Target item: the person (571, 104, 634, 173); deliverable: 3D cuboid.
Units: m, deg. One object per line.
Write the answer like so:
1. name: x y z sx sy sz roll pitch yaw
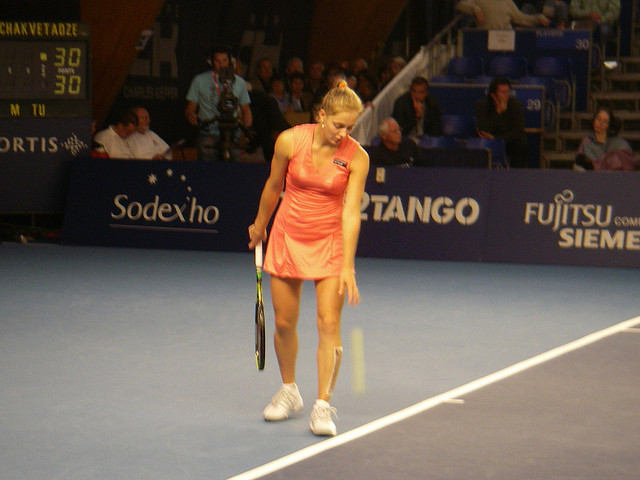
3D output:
1. person: 4.836 -1.712 11.608 0.903 1.058 0.461 4 8 22

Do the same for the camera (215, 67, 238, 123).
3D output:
1. camera: -1.471 -2.204 10.560 0.342 0.826 0.440 0 7 -7

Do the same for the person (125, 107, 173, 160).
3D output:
1. person: -3.071 -1.853 12.053 0.471 0.869 0.882 -15 21 15

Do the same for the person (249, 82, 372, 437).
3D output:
1. person: -0.067 0.098 4.160 0.683 2.037 0.583 1 7 3

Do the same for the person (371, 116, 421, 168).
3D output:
1. person: 1.191 -1.519 10.768 0.808 0.695 0.317 2 7 7

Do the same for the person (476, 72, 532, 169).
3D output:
1. person: 3.244 -2.051 12.135 0.912 1.533 0.449 3 7 14

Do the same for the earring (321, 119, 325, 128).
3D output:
1. earring: 0.006 -0.683 4.063 0.008 0.047 0.057 -1 8 -17

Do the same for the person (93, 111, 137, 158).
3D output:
1. person: -3.544 -1.761 11.675 0.427 0.681 0.804 24 22 1
